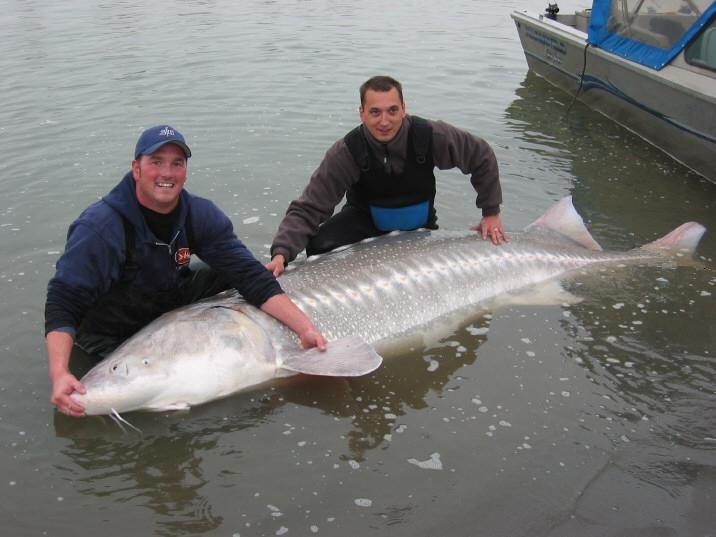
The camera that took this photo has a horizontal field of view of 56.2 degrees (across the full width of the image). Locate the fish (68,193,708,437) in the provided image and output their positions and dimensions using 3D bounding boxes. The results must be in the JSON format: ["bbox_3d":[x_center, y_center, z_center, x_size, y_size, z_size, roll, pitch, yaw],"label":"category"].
[{"bbox_3d":[0.100,0.249,5.040,5.392,0.783,1.361,-14,10,-17],"label":"fish"}]

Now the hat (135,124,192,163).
[{"bbox_3d":[-1.307,-0.851,4.517,0.354,0.188,0.447,-10,5,-25],"label":"hat"}]
